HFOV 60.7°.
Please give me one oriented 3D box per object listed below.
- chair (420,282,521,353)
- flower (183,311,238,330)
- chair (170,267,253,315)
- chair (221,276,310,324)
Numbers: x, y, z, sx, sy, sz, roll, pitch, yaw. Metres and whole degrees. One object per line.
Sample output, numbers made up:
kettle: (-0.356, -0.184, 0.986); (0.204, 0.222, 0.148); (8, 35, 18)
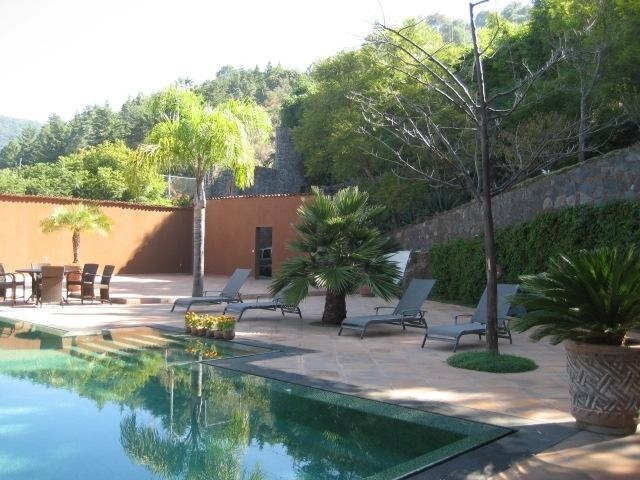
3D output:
chair: (2.663, 1.314, 9.675); (1.940, 1.373, 0.950); (3, -4, -34)
flower: (-2.124, 1.545, 10.472); (1.073, 0.376, 0.280); (0, 7, -3)
chair: (-2.518, 1.267, 13.399); (1.982, 1.235, 1.055); (2, -5, -29)
chair: (-1.271, 1.340, 12.163); (1.476, 0.908, 0.917); (3, -7, -14)
